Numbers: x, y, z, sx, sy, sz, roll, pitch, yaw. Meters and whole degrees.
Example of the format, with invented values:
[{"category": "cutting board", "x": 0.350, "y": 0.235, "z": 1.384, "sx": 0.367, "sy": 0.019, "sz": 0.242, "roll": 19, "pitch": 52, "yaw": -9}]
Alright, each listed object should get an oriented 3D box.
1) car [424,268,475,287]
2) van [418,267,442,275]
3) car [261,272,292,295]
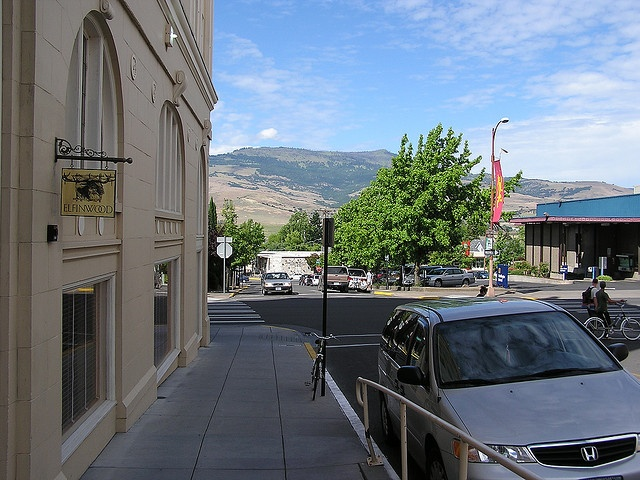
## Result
[{"category": "car", "x": 12.170, "y": 3.689, "z": 49.198, "sx": 4.449, "sy": 1.515, "sz": 1.982, "roll": 4, "pitch": -6, "yaw": -35}, {"category": "van", "x": 11.502, "y": 3.432, "z": 55.023, "sx": 2.212, "sy": 0.807, "sz": 1.373, "roll": -4, "pitch": 5, "yaw": -26}, {"category": "car", "x": -3.479, "y": 3.554, "z": 41.210, "sx": 2.229, "sy": 1.545, "sz": 2.414, "roll": 1, "pitch": 0, "yaw": -11}]
